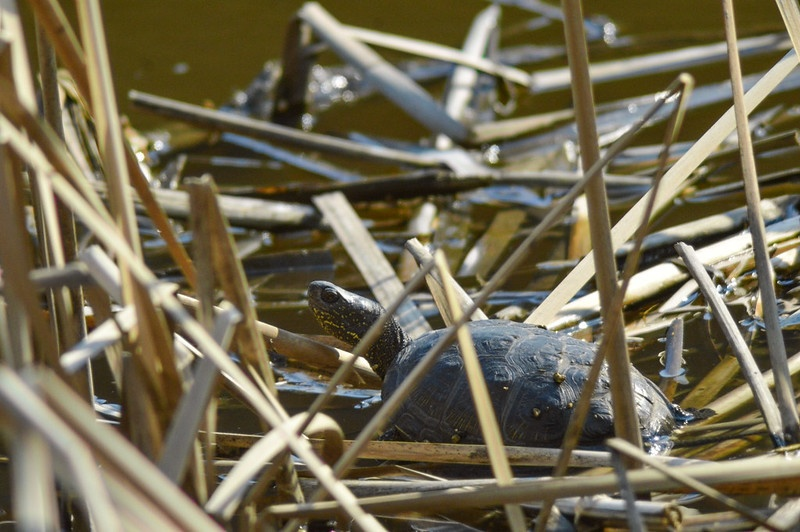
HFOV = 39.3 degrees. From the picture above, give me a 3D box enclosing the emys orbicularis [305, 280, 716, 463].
[{"bbox_3d":[0.312,0.350,3.439,0.890,0.264,0.586,5,8,18],"label":"emys orbicularis"}]
